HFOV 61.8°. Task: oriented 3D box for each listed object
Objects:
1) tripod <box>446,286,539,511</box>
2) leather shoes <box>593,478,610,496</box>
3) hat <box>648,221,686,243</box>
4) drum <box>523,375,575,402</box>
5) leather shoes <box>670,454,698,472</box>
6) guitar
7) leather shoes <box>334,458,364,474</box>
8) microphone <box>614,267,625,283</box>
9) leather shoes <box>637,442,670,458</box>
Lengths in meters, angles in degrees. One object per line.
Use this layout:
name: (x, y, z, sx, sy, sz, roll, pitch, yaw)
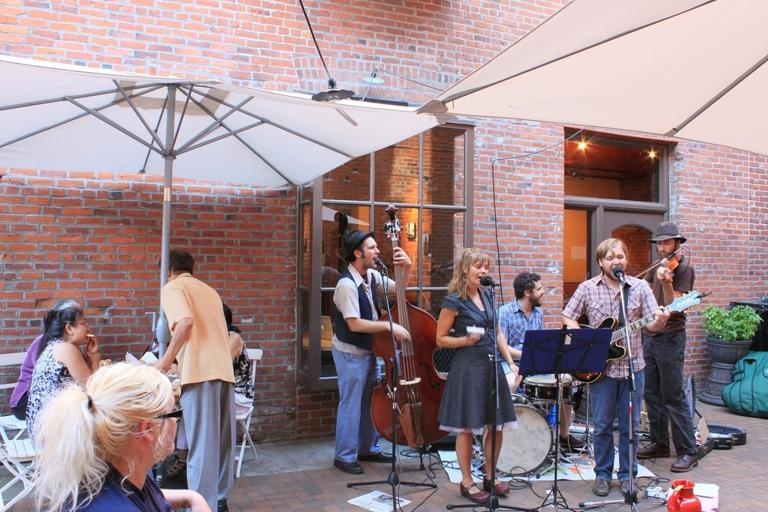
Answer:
tripod: (0.834, 1.257, 5.999, 0.773, 2.108, 0.995, 3, 9, 16)
leather shoes: (2.104, 2.236, 6.189, 0.158, 0.129, 0.153, 1, 7, 6)
hat: (3.198, -0.235, 7.220, 0.437, 0.202, 0.493, -4, -10, 38)
drum: (1.720, 1.311, 6.665, 0.452, 0.142, 0.420, -1, 1, 0)
leather shoes: (3.180, 2.211, 6.858, 0.368, 0.137, 0.132, 2, -8, -35)
guitar: (2.377, 0.795, 6.093, 1.054, 0.992, 0.621, 1, 8, 4)
leather shoes: (-0.366, 2.182, 6.670, 0.278, 0.103, 0.127, -4, -7, 41)
microphone: (2.234, 0.196, 6.008, 0.149, 0.130, 0.141, -2, 26, 20)
leather shoes: (3.004, 2.182, 7.199, 0.446, 0.175, 0.170, 3, -3, -3)
